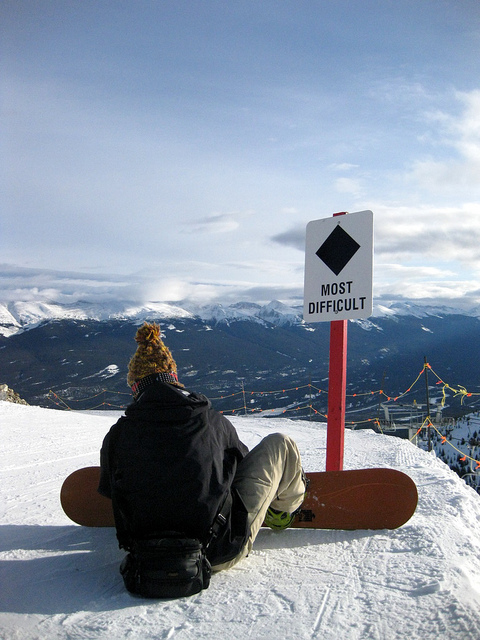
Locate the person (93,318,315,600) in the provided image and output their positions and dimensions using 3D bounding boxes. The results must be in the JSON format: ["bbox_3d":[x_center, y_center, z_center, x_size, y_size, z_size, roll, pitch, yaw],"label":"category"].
[{"bbox_3d":[-0.255,0.679,3.589,1.201,1.369,2.049,0,3,-15],"label":"person"}]

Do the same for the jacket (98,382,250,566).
[{"bbox_3d":[-0.266,0.719,2.761,0.644,0.862,0.401,0,3,-7],"label":"jacket"}]
